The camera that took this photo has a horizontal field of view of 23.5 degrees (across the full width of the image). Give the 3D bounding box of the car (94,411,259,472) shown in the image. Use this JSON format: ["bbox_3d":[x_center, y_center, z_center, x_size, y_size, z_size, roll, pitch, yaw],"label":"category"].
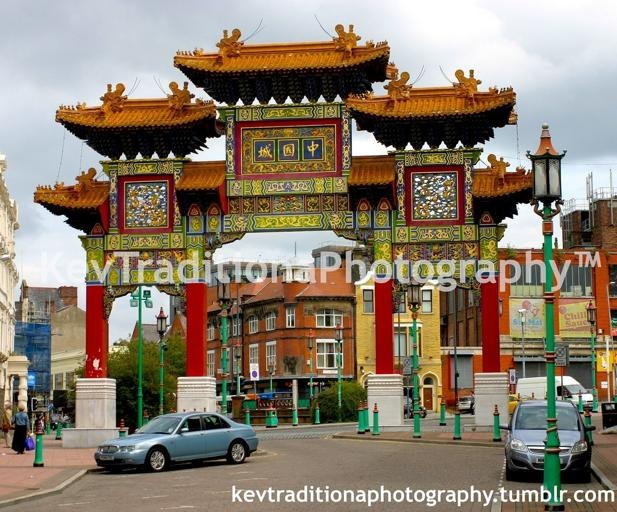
[{"bbox_3d":[-4.210,6.086,48.039,4.732,1.566,1.981,6,-12,-39],"label":"car"}]

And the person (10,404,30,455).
[{"bbox_3d":[-10.585,6.504,54.805,0.598,1.566,1.285,0,-8,-13],"label":"person"}]
